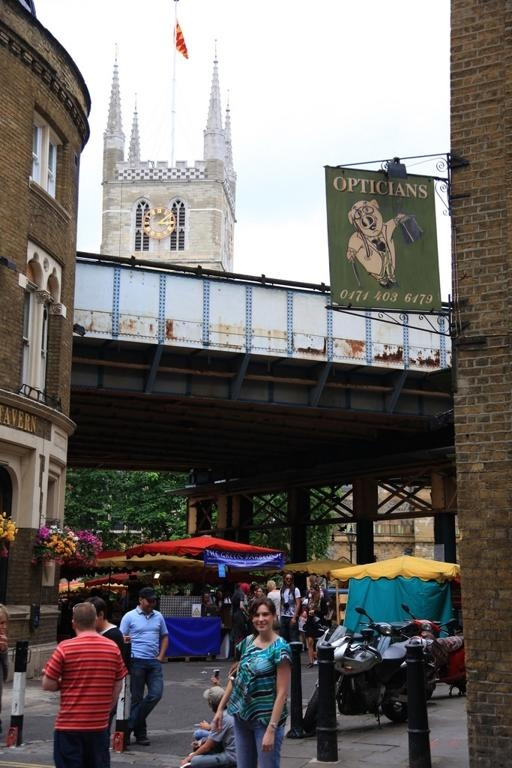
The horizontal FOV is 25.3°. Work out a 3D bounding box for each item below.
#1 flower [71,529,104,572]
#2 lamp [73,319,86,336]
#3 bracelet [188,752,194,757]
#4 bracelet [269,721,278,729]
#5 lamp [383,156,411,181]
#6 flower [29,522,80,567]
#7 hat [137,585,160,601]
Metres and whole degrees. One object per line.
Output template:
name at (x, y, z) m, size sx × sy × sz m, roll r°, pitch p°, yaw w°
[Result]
flower at (-3.074, 3.105, 21.187) m, size 0.736 × 0.657 × 0.822 m, roll 11°, pitch -4°, yaw -19°
lamp at (-4.049, -1.248, 26.127) m, size 0.272 × 0.342 × 0.884 m, roll 0°, pitch -13°, yaw -8°
bracelet at (-0.551, 3.179, 9.839) m, size 0.027 × 0.025 × 0.112 m, roll 0°, pitch -13°, yaw -6°
bracelet at (0.126, 2.319, 7.810) m, size 0.047 × 0.020 × 0.054 m, roll 6°, pitch 7°, yaw 23°
lamp at (1.536, -2.300, 12.220) m, size 0.222 × 0.221 × 0.259 m, roll 0°, pitch -14°, yaw -8°
flower at (-3.552, 2.847, 20.227) m, size 0.681 × 0.585 × 0.728 m, roll 3°, pitch -12°, yaw -5°
hat at (-1.143, 2.216, 12.099) m, size 0.177 × 0.159 × 0.364 m, roll 1°, pitch -13°, yaw -11°
